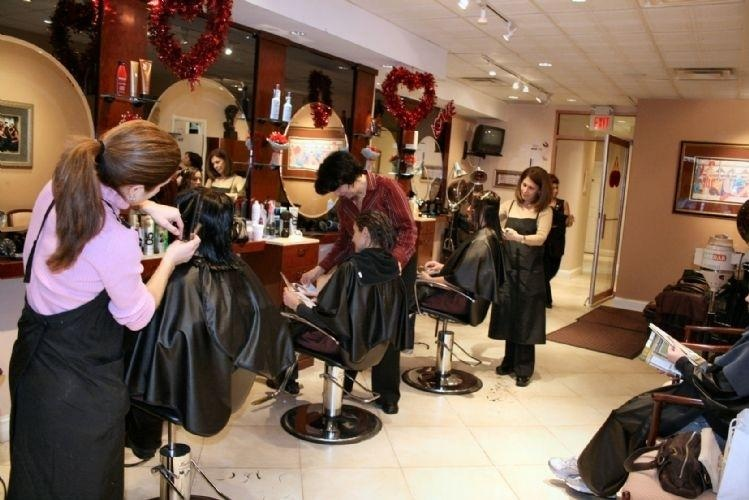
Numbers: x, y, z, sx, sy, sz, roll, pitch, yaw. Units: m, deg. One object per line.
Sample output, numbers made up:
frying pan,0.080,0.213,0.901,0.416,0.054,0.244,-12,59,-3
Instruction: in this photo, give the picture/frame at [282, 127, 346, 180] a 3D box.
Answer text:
picture/frame,-0.561,-0.890,4.953,0.699,0.464,0.024,7,5,29

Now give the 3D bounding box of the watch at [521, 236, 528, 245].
watch,1.219,-0.071,4.380,0.056,0.053,0.053,7,18,21

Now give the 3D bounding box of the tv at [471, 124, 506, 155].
tv,1.786,-1.750,8.580,0.541,0.439,0.290,0,14,-36

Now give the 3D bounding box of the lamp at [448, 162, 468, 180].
lamp,1.171,-1.117,7.652,0.229,0.263,0.294,14,33,33

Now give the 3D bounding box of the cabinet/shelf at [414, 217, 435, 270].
cabinet/shelf,0.547,-0.060,6.950,0.318,0.611,0.346,0,2,-39

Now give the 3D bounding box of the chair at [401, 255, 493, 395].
chair,0.591,0.646,4.460,0.675,0.908,0.648,-1,12,-26

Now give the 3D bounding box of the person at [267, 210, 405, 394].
person,-0.208,0.379,3.536,0.830,1.248,0.839,11,12,34

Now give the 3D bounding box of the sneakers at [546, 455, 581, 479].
sneakers,1.151,1.328,3.279,0.195,0.086,0.081,3,-20,12

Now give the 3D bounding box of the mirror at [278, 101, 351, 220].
mirror,-0.553,-0.776,4.632,0.096,1.353,1.109,6,10,31

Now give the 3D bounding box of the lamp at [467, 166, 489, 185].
lamp,1.550,-1.089,8.044,0.202,0.226,0.291,11,14,24

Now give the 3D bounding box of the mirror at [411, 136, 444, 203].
mirror,0.704,-1.106,7.353,0.084,1.204,1.025,6,8,24

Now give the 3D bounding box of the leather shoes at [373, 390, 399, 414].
leather shoes,0.098,1.101,3.890,0.117,0.216,0.231,0,0,-34

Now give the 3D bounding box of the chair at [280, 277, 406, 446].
chair,-0.317,0.832,3.800,0.981,0.898,0.916,7,17,6
